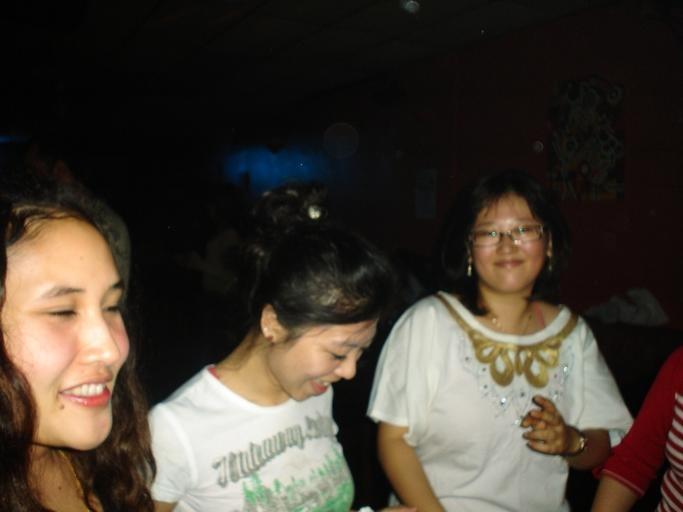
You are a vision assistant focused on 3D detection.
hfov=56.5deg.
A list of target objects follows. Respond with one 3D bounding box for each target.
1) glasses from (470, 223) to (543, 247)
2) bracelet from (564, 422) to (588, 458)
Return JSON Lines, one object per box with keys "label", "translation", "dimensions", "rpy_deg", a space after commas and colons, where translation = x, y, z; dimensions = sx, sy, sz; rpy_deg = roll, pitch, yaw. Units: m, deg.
{"label": "glasses", "translation": [0.648, -0.084, 2.540], "dimensions": [0.277, 0.065, 0.049], "rpy_deg": [-3, 0, 11]}
{"label": "bracelet", "translation": [0.926, 0.734, 2.552], "dimensions": [0.094, 0.044, 0.114], "rpy_deg": [0, 31, -21]}
